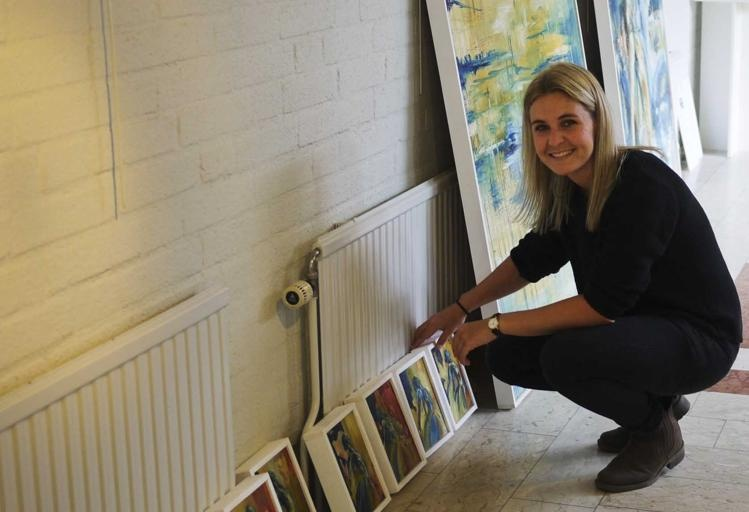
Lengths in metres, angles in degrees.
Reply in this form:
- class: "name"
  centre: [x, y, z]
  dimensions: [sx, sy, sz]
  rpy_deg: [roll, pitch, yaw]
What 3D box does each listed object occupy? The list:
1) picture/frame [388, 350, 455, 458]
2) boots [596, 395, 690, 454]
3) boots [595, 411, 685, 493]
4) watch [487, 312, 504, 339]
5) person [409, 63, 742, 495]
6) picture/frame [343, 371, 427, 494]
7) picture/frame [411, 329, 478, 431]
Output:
- class: "picture/frame"
  centre: [0.199, 0.681, 2.515]
  dimensions: [0.045, 0.448, 0.382]
  rpy_deg: [-18, 10, 34]
- class: "boots"
  centre: [1.173, 0.772, 2.496]
  dimensions: [0.415, 0.288, 0.152]
  rpy_deg: [7, -21, -8]
- class: "boots"
  centre: [1.065, 0.788, 2.219]
  dimensions: [0.323, 0.234, 0.137]
  rpy_deg: [-28, 17, -7]
- class: "watch"
  centre: [0.485, 0.281, 2.237]
  dimensions: [0.055, 0.093, 0.083]
  rpy_deg: [-3, 4, 33]
- class: "person"
  centre: [0.843, 0.090, 2.170]
  dimensions: [1.006, 1.611, 0.452]
  rpy_deg: [3, 16, 33]
- class: "picture/frame"
  centre: [0.031, 0.748, 2.317]
  dimensions: [0.078, 0.497, 0.366]
  rpy_deg: [-21, 8, 34]
- class: "picture/frame"
  centre: [0.314, 0.584, 2.605]
  dimensions: [0.036, 0.465, 0.461]
  rpy_deg: [-19, 3, 34]
